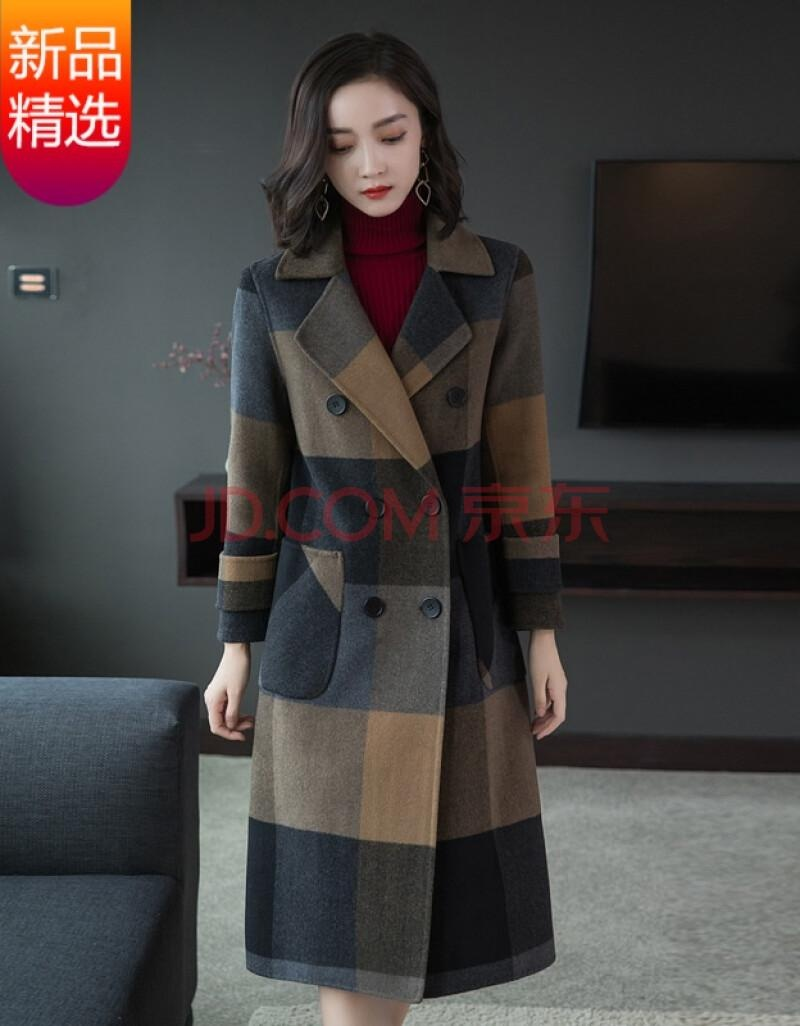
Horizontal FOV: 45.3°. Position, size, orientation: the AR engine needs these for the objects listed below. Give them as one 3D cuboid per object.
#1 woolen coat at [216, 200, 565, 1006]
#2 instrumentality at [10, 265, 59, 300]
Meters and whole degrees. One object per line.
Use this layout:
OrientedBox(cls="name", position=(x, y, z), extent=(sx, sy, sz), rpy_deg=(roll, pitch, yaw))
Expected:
OrientedBox(cls="woolen coat", position=(-0.014, 0.099, 1.052), extent=(0.376, 0.826, 0.196), rpy_deg=(1, 5, 7))
OrientedBox(cls="instrumentality", position=(-1.148, -0.725, 3.021), extent=(0.122, 0.093, 0.037), rpy_deg=(2, 9, -4))
